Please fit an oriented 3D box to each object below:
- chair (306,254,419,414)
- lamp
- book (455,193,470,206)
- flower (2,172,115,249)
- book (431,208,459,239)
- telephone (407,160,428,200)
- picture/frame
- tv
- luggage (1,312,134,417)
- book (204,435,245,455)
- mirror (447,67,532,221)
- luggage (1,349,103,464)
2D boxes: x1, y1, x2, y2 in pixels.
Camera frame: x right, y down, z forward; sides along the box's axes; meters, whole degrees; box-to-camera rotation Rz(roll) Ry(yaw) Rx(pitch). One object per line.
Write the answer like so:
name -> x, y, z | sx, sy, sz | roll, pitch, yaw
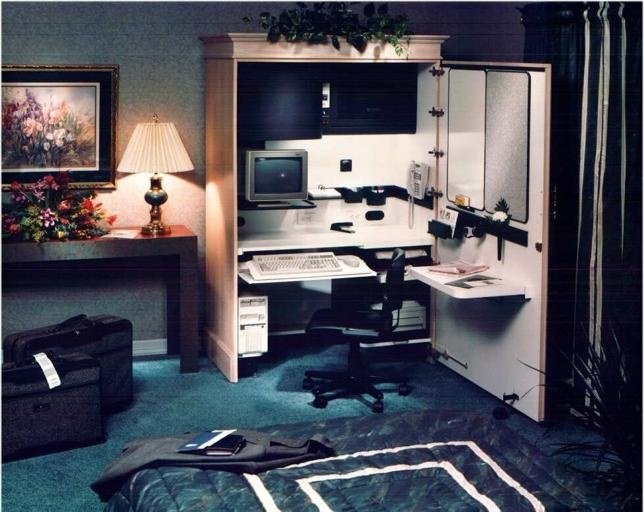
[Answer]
chair -> 0.231, 0.418, 3.539 | 0.684, 0.969, 0.624 | -4, 12, -17
lamp -> -1.078, -0.535, 3.754 | 0.449, 0.771, 0.366 | -4, 12, -14
book -> 0.885, -0.359, 3.642 | 0.028, 0.069, 0.078 | -6, 14, -25
flower -> -1.596, -0.264, 3.472 | 0.507, 0.307, 0.500 | 0, 4, -40
book -> 0.805, -0.212, 3.772 | 0.128, 0.188, 0.212 | -1, 7, -20
telephone -> 0.667, -0.533, 4.045 | 0.065, 0.219, 0.247 | 1, 9, -42
picture/frame -> -1.679, -0.845, 3.617 | 0.916, 0.806, 0.038 | 0, 10, -12
tv -> -0.325, -0.518, 3.940 | 0.610, 0.473, 0.318 | -1, 5, -16
luggage -> -1.371, 0.611, 3.148 | 0.607, 0.500, 0.208 | -3, 5, -37
book -> -0.344, 0.669, 2.027 | 0.068, 0.015, 0.068 | -13, 14, 9
mirror -> 0.978, -0.659, 3.335 | 0.053, 0.916, 0.963 | -5, 10, -24
luggage -> -1.380, 0.753, 2.935 | 0.488, 0.484, 0.174 | -8, 14, -31
